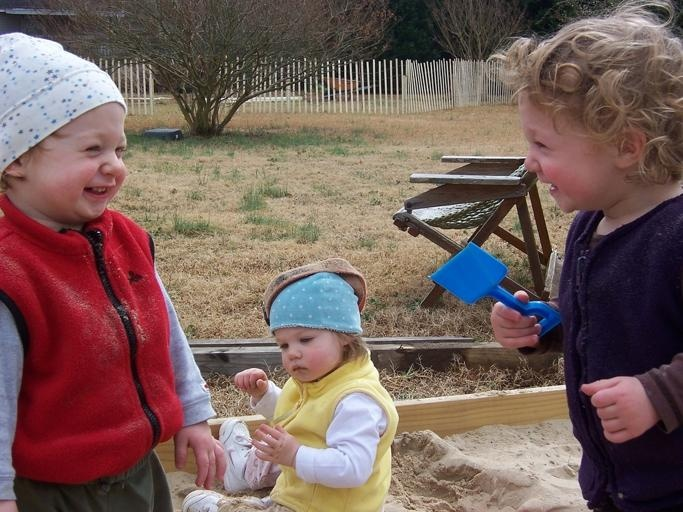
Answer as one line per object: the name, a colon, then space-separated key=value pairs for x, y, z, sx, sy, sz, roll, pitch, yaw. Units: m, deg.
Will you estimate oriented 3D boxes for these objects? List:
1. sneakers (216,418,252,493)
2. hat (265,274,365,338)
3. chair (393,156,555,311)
sneakers: x=-0.449 y=0.833 z=3.345 sx=0.170 sy=0.339 sz=0.129 roll=-19 pitch=-35 yaw=30
hat: x=-0.129 y=0.134 z=2.944 sx=0.383 sy=0.230 sz=0.324 roll=1 pitch=7 yaw=-15
chair: x=1.080 y=-0.214 z=6.040 sx=1.318 sy=0.870 sz=1.745 roll=10 pitch=13 yaw=13
